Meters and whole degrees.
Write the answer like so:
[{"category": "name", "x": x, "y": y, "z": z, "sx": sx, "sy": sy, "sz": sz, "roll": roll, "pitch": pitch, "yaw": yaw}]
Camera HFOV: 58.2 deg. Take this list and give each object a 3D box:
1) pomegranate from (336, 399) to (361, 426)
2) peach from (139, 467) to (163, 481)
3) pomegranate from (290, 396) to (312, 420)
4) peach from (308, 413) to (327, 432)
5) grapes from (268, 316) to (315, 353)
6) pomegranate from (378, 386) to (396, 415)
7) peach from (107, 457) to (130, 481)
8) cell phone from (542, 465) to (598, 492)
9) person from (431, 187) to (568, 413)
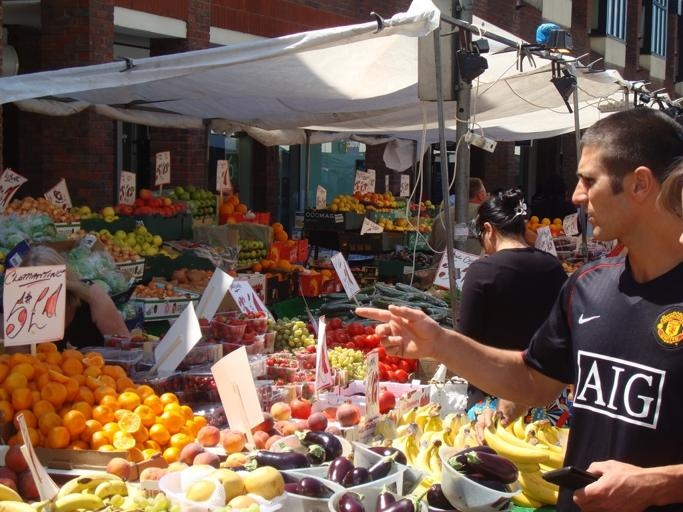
[{"category": "pomegranate", "x": 0.043, "y": 0.875, "z": 3.406, "sx": 0.108, "sy": 0.111, "sz": 0.110, "roll": -3, "pitch": 3, "yaw": -3}, {"category": "peach", "x": -0.807, "y": 0.928, "z": 2.599, "sx": 0.083, "sy": 0.042, "sz": 0.051, "roll": -6, "pitch": 6, "yaw": 19}, {"category": "pomegranate", "x": -0.219, "y": 0.844, "z": 3.382, "sx": 0.093, "sy": 0.095, "sz": 0.095, "roll": -2, "pitch": 3, "yaw": -9}, {"category": "peach", "x": -0.119, "y": 0.853, "z": 3.150, "sx": 0.087, "sy": 0.093, "sz": 0.161, "roll": 1, "pitch": 4, "yaw": 13}, {"category": "grapes", "x": -0.330, "y": 0.594, "z": 4.595, "sx": 0.348, "sy": 0.208, "sz": 0.328, "roll": -4, "pitch": 12, "yaw": -32}, {"category": "pomegranate", "x": 0.282, "y": 0.872, "z": 3.625, "sx": 0.106, "sy": 0.127, "sz": 0.108, "roll": -17, "pitch": -15, "yaw": 7}, {"category": "peach", "x": -0.947, "y": 0.902, "z": 2.600, "sx": 0.091, "sy": 0.109, "sz": 0.083, "roll": 12, "pitch": -9, "yaw": -36}, {"category": "cell phone", "x": 0.659, "y": 0.646, "z": 1.767, "sx": 0.148, "sy": 0.030, "sz": 0.079, "roll": 27, "pitch": -44, "yaw": -23}, {"category": "person", "x": 1.014, "y": 0.170, "z": 3.985, "sx": 0.713, "sy": 1.327, "sz": 0.808, "roll": 10, "pitch": 14, "yaw": 36}]
